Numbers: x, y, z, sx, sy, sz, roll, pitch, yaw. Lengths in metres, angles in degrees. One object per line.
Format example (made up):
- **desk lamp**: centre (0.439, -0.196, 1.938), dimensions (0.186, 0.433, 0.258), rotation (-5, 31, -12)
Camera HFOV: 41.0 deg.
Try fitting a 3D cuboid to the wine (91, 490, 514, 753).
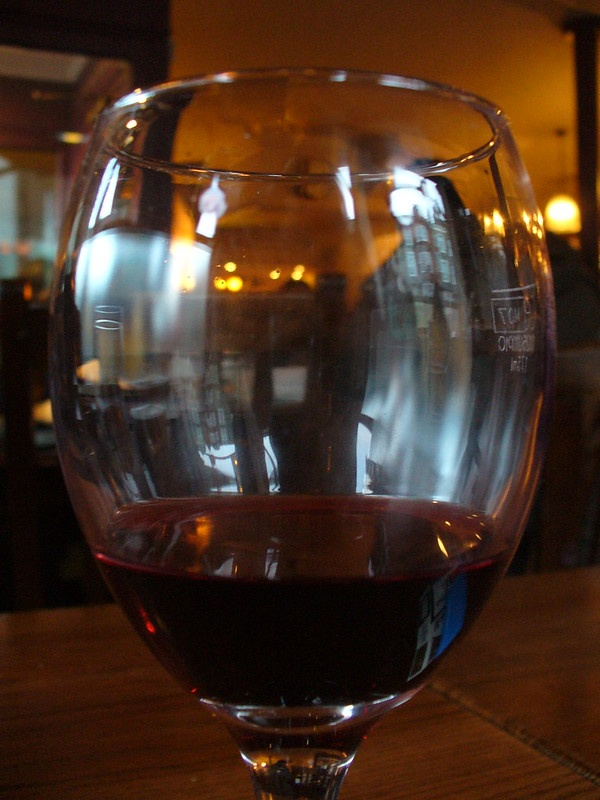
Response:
- **wine**: centre (0.000, 0.037, 0.121), dimensions (0.056, 0.019, 0.050), rotation (0, -7, -1)
